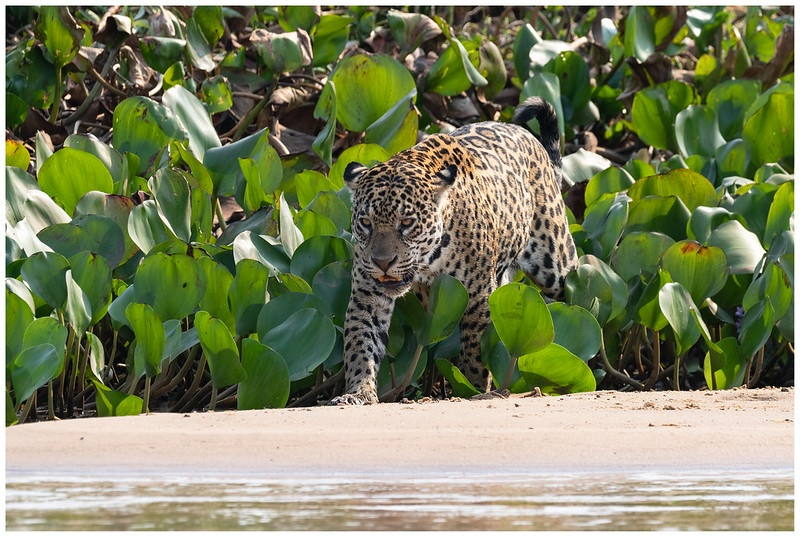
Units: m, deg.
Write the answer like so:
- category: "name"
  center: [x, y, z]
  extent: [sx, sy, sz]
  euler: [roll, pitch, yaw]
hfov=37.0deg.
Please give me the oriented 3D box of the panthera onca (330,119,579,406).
- category: "panthera onca"
  center: [0.293, -0.085, 7.399]
  extent: [0.562, 1.452, 2.007]
  euler: [-2, 3, 44]
